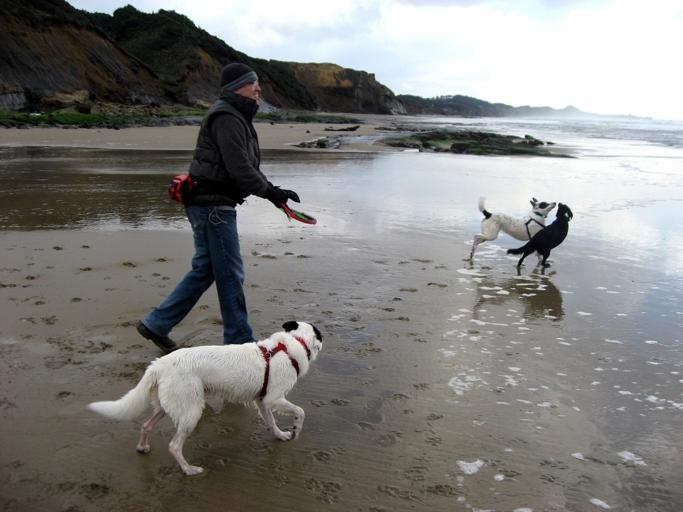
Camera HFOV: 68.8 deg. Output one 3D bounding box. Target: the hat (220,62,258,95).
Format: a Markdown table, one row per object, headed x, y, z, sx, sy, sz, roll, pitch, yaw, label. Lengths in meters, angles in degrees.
| x | y | z | sx | sy | sz | roll | pitch | yaw | label |
| --- | --- | --- | --- | --- | --- | --- | --- | --- | --- |
| -0.950 | -1.660 | 4.641 | 0.304 | 0.279 | 0.324 | 2 | 17 | 5 | hat |
